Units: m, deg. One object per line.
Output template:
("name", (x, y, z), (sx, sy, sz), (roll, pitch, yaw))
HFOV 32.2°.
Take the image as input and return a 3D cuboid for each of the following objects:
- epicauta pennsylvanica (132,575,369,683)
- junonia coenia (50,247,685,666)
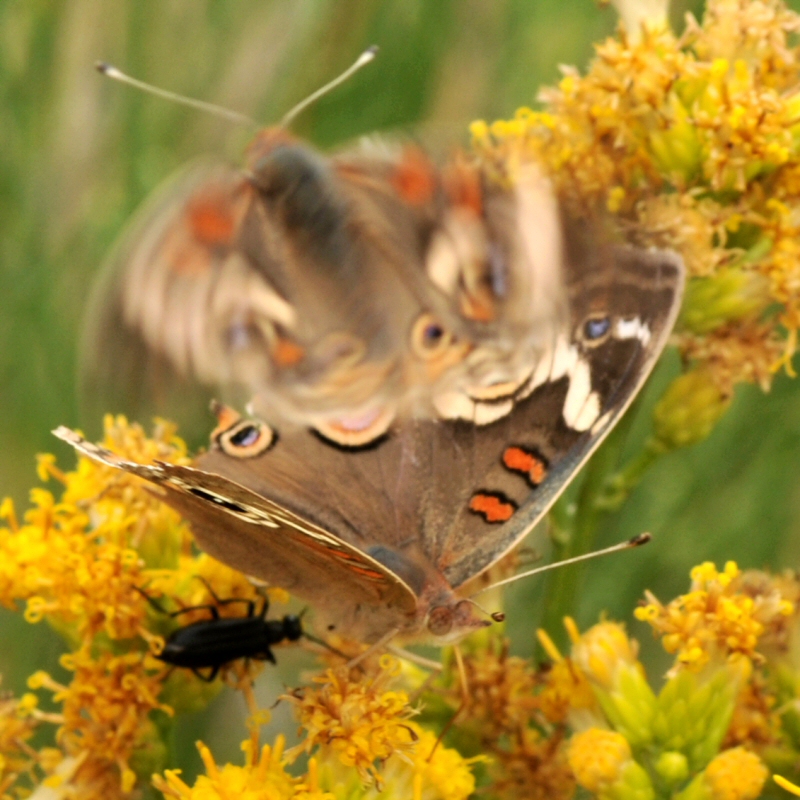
("epicauta pennsylvanica", (-0.304, 0.415, 2.488), (0.277, 0.081, 0.188), (-8, 38, -43))
("junonia coenia", (-0.067, 0.095, 2.520), (0.858, 0.429, 0.800), (-22, 50, -38))
